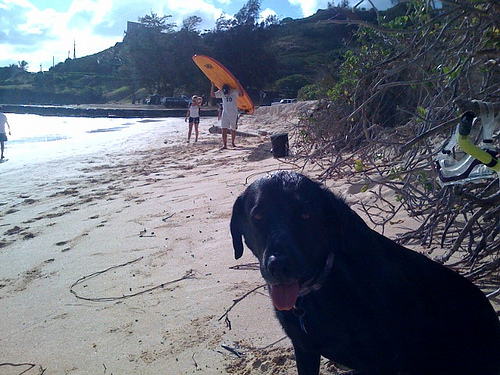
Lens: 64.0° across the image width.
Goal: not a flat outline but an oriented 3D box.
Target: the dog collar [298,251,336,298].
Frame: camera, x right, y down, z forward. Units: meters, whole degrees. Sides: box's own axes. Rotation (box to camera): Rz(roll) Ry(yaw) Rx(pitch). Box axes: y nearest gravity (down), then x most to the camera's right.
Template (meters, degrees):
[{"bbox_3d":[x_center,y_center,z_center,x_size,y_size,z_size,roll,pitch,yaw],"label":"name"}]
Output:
[{"bbox_3d":[0.334,0.441,1.954,0.051,0.214,0.153,33,-2,-18],"label":"dog collar"}]

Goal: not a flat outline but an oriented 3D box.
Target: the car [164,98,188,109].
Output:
[{"bbox_3d":[-7.408,-8.359,40.153,1.922,0.938,1.199,-3,13,-3],"label":"car"}]
